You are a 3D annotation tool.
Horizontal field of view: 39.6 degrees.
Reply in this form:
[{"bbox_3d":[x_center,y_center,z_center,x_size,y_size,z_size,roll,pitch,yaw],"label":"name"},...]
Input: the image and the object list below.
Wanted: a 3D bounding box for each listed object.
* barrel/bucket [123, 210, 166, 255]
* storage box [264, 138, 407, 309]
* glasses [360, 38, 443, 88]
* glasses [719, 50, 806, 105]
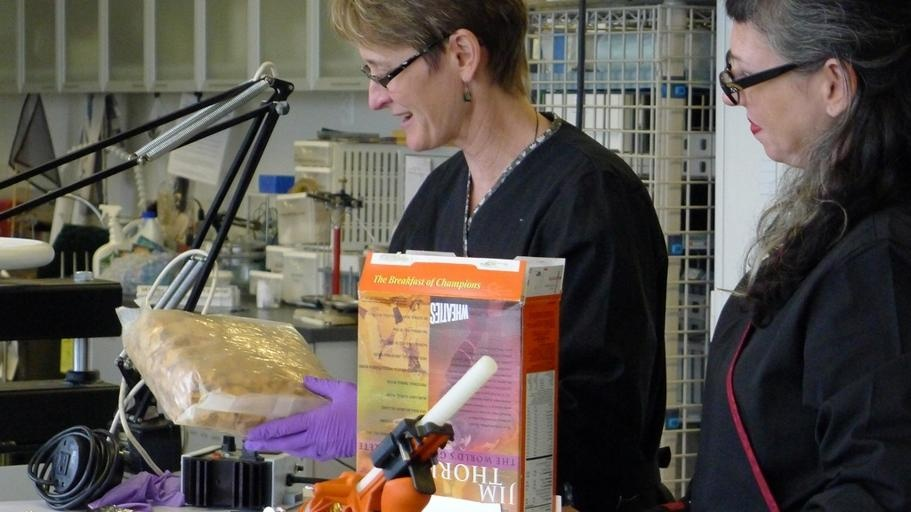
[{"bbox_3d":[-1.556,-0.106,6.310,0.225,0.268,0.160,-11,-15,27],"label":"barrel/bucket"},{"bbox_3d":[-0.532,-0.183,6.000,0.714,1.173,0.610,1,4,-6],"label":"storage box"},{"bbox_3d":[-0.162,-0.618,4.022,0.177,0.048,0.175,-41,16,-2],"label":"glasses"},{"bbox_3d":[0.875,-0.514,3.716,0.165,0.056,0.167,-21,14,4],"label":"glasses"}]
